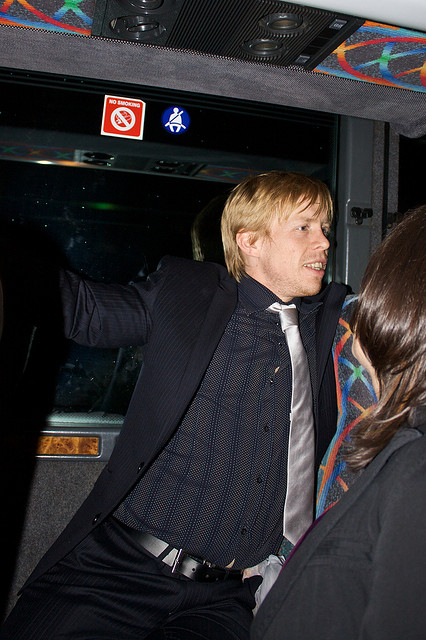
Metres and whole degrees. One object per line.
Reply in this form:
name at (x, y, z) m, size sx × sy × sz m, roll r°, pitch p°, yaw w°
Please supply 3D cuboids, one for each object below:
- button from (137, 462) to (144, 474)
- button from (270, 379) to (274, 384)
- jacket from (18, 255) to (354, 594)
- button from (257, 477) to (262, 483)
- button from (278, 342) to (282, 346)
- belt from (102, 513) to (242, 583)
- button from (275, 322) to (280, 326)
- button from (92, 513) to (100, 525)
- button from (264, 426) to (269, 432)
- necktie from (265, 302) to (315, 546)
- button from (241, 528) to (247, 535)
button at (-0.181, 0.366, 1.228) m, size 0.004 × 0.016 × 0.017 m, roll 28°, pitch 44°, yaw -13°
button at (0.168, 0.176, 1.392) m, size 0.010 × 0.009 × 0.003 m, roll -18°, pitch 31°, yaw -25°
jacket at (-0.079, 0.272, 1.387) m, size 1.068 × 0.913 × 0.249 m, roll 23°, pitch -31°, yaw -13°
button at (0.123, 0.432, 1.318) m, size 0.012 × 0.014 × 0.003 m, roll -3°, pitch -3°, yaw -15°
button at (0.197, 0.072, 1.450) m, size 0.008 × 0.003 × 0.011 m, roll 41°, pitch 18°, yaw 33°
belt at (-0.100, 0.587, 1.290) m, size 0.271 × 0.066 × 0.244 m, roll 24°, pitch -29°, yaw 29°
button at (0.193, 0.013, 1.484) m, size 0.008 × 0.007 × 0.008 m, roll 3°, pitch 11°, yaw 5°
button at (-0.291, 0.495, 1.219) m, size 0.014 × 0.021 × 0.025 m, roll 8°, pitch 6°, yaw -9°
button at (0.146, 0.303, 1.354) m, size 0.010 × 0.011 × 0.003 m, roll 6°, pitch 0°, yaw -16°
necktie at (0.226, 0.278, 1.352) m, size 0.119 × 0.559 × 0.049 m, roll 0°, pitch -10°, yaw 10°
button at (0.079, 0.555, 1.282) m, size 0.013 × 0.013 × 0.003 m, roll 9°, pitch 1°, yaw -14°
